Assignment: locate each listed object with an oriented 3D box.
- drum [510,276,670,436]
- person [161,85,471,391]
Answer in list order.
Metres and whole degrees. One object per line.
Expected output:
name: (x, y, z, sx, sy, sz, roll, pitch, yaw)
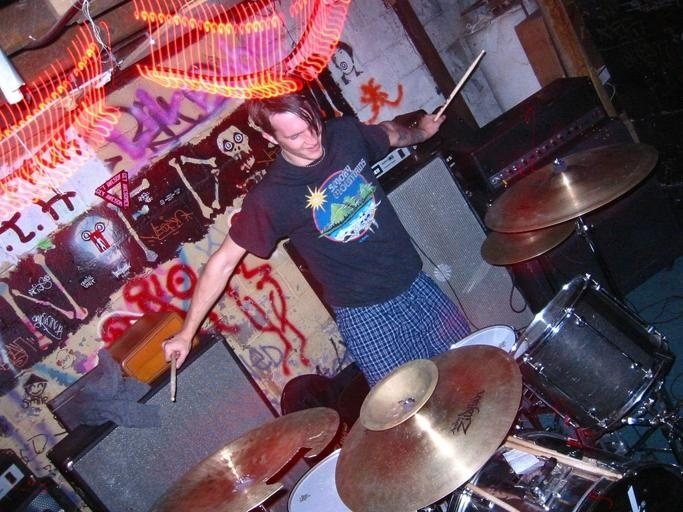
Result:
drum: (1.389, 0.566, 3.108, 0.882, 0.645, 0.823, -54, 5, 8)
person: (-0.233, -0.110, 3.372, 1.552, 1.737, 0.367, -45, 27, -11)
